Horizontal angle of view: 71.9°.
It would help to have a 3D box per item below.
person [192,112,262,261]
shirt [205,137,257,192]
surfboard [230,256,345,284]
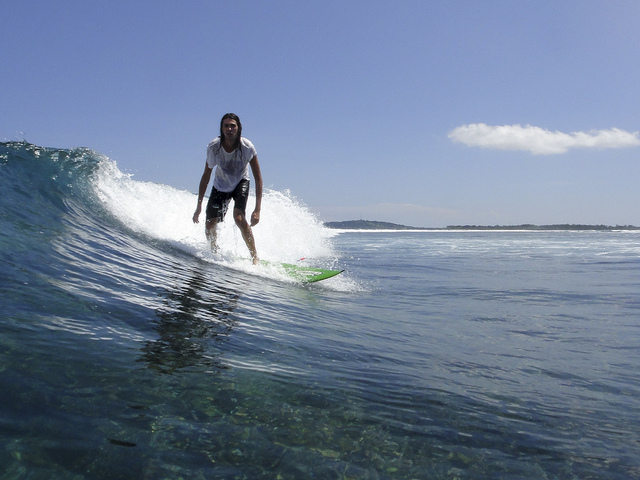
[{"bbox_3d":[-1.705,-0.934,8.414,1.369,2.711,1.120,9,7,11],"label":"person"},{"bbox_3d":[-1.674,-1.265,8.564,1.121,0.470,1.173,7,-46,-15],"label":"shirt"},{"bbox_3d":[-0.725,0.649,9.447,2.292,0.246,0.320,11,18,36],"label":"surfboard"}]
